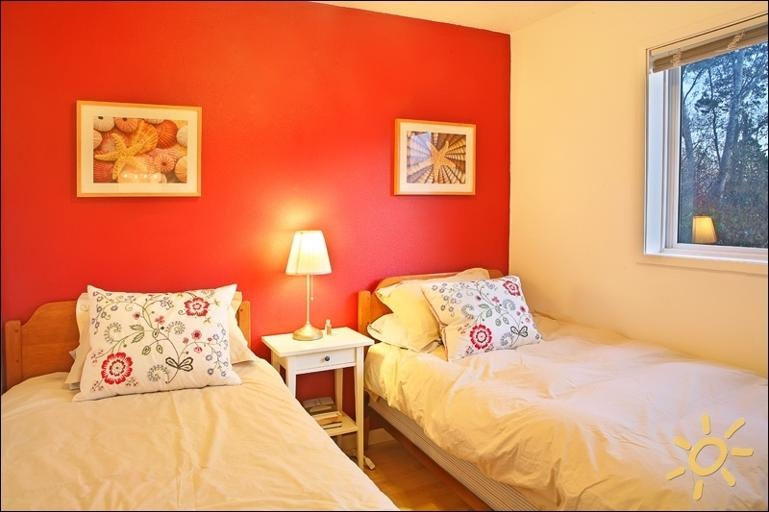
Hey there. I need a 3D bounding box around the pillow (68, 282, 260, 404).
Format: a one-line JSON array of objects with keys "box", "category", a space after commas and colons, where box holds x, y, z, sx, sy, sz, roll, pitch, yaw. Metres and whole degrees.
[{"box": [-1.137, 0.445, 2.553, 0.870, 0.547, 0.424, 2, 7, -11], "category": "pillow"}]

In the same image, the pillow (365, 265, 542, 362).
[{"box": [0.495, 0.357, 3.082, 0.702, 0.203, 0.579, -10, 37, -20], "category": "pillow"}]

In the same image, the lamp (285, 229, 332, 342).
[{"box": [-0.529, 0.172, 3.161, 0.312, 0.660, 0.309, -1, 3, -26], "category": "lamp"}]

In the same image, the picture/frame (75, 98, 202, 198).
[{"box": [-1.369, -0.591, 2.881, 0.704, 0.493, 0.023, 1, 2, -2], "category": "picture/frame"}]
